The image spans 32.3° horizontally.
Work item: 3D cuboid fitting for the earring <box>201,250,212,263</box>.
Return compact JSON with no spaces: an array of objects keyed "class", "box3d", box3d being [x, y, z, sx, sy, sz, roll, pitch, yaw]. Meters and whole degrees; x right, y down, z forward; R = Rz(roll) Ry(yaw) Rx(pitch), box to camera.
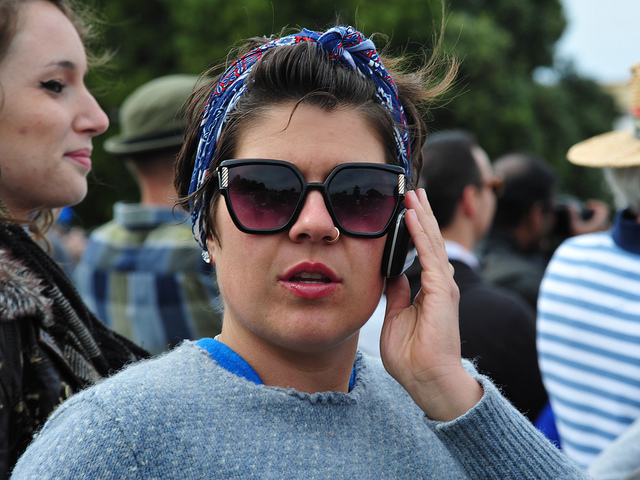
[{"class":"earring","box3d":[-0.579,0.075,5.633,0.048,0.061,0.037,13,53,24]}]
